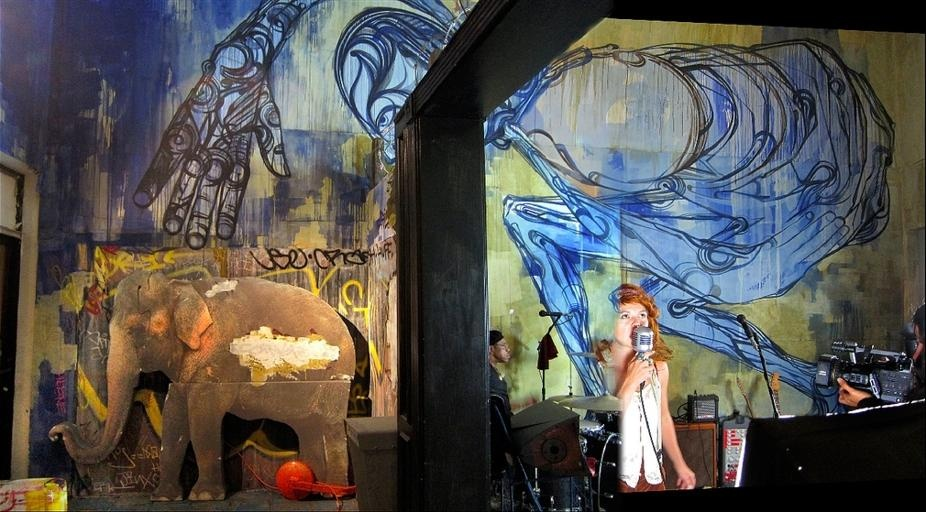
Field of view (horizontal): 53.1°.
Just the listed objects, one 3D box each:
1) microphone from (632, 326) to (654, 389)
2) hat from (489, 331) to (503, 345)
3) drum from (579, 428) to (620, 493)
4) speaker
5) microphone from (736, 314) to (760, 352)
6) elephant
[{"bbox_3d":[2.639,1.421,13.388,0.290,0.793,0.196,1,-12,12],"label":"microphone"},{"bbox_3d":[0.465,1.111,13.014,0.209,0.228,0.174,9,1,-3],"label":"hat"},{"bbox_3d":[1.820,2.600,11.895,0.694,0.818,0.300,6,-18,-30],"label":"drum"},{"bbox_3d":[1.078,2.245,11.404,0.921,0.728,0.424,-5,8,-1],"label":"speaker"},{"bbox_3d":[4.139,1.092,13.394,0.144,0.528,0.178,-23,-27,-8],"label":"microphone"},{"bbox_3d":[-3.490,1.828,13.016,4.112,3.083,1.778,3,-9,-18],"label":"elephant"}]
